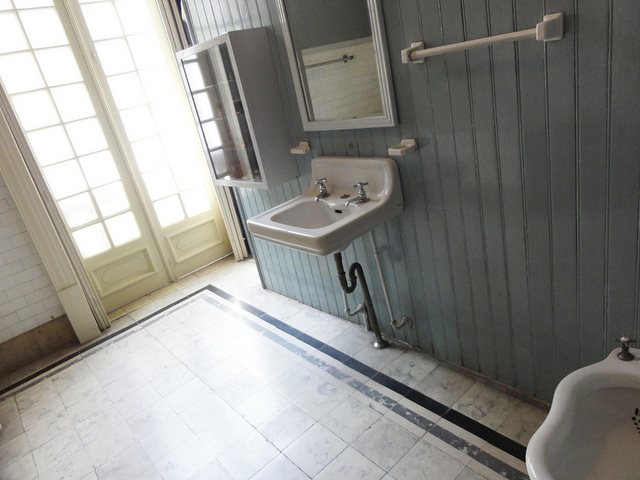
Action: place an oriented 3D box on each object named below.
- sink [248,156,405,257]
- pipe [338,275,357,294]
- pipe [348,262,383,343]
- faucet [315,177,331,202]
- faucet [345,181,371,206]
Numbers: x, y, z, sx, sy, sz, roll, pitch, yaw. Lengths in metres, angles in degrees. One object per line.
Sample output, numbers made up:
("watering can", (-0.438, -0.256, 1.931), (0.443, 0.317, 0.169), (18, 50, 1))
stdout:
("sink", (0.015, -0.230, 2.642), (0.626, 0.419, 0.779), (-31, 32, -35))
("pipe", (0.187, 0.288, 2.908), (0.132, 0.129, 0.063), (-23, 11, -39))
("pipe", (0.325, 0.419, 2.923), (0.144, 0.523, 0.182), (-10, 25, -29))
("faucet", (0.006, -0.344, 2.884), (0.100, 0.145, 0.165), (-9, 26, 4))
("faucet", (0.245, -0.279, 2.612), (0.110, 0.100, 0.136), (-37, 38, -24))
